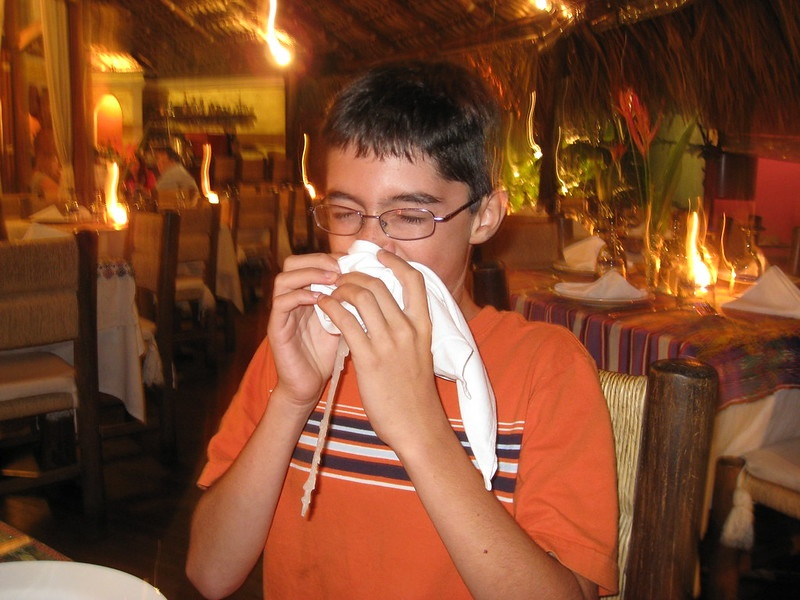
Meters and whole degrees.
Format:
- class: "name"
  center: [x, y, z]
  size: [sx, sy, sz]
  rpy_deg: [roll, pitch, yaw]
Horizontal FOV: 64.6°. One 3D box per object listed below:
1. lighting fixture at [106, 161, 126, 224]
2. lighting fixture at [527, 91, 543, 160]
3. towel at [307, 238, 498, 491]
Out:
- class: "lighting fixture"
  center: [-2.495, -0.894, 5.455]
  size: [0.163, 0.682, 0.138]
  rpy_deg: [2, -25, -42]
- class: "lighting fixture"
  center: [1.294, -1.639, 5.943]
  size: [0.102, 0.520, 0.038]
  rpy_deg: [-10, 7, -22]
- class: "towel"
  center: [0.068, 0.113, 1.436]
  size: [0.396, 0.585, 0.224]
  rpy_deg: [-7, 12, 46]
